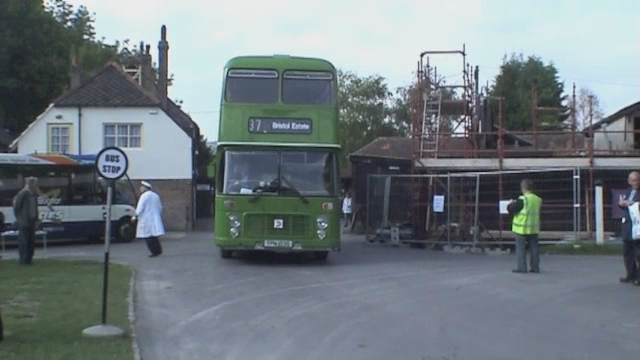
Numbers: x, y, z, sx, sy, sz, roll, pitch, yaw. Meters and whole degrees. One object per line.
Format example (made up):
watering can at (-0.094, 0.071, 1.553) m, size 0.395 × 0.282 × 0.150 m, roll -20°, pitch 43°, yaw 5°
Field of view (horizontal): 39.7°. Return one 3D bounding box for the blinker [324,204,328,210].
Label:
blinker at (0.191, 1.147, 38.731) m, size 0.251 × 0.241 × 0.057 m, roll 2°, pitch -5°, yaw 0°
